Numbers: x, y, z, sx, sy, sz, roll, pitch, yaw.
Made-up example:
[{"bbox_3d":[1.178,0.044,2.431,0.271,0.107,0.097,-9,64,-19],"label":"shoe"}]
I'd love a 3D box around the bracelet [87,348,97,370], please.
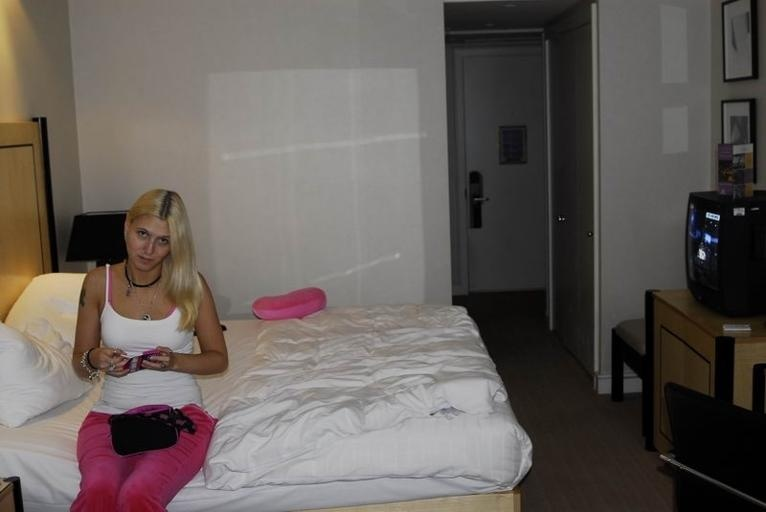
[{"bbox_3d":[-1.371,0.485,2.621,0.034,0.111,0.081,-11,16,-33],"label":"bracelet"}]

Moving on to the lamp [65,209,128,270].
[{"bbox_3d":[-2.077,-0.139,4.167,0.405,0.317,0.415,-2,6,-11],"label":"lamp"}]

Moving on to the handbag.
[{"bbox_3d":[-1.029,0.767,2.480,0.266,0.090,0.184,0,32,-24],"label":"handbag"}]

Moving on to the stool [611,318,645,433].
[{"bbox_3d":[1.816,0.831,4.163,0.227,0.745,0.903,3,15,22],"label":"stool"}]

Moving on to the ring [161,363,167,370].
[{"bbox_3d":[-0.996,0.496,2.540,0.031,0.033,0.008,1,0,-13],"label":"ring"}]
